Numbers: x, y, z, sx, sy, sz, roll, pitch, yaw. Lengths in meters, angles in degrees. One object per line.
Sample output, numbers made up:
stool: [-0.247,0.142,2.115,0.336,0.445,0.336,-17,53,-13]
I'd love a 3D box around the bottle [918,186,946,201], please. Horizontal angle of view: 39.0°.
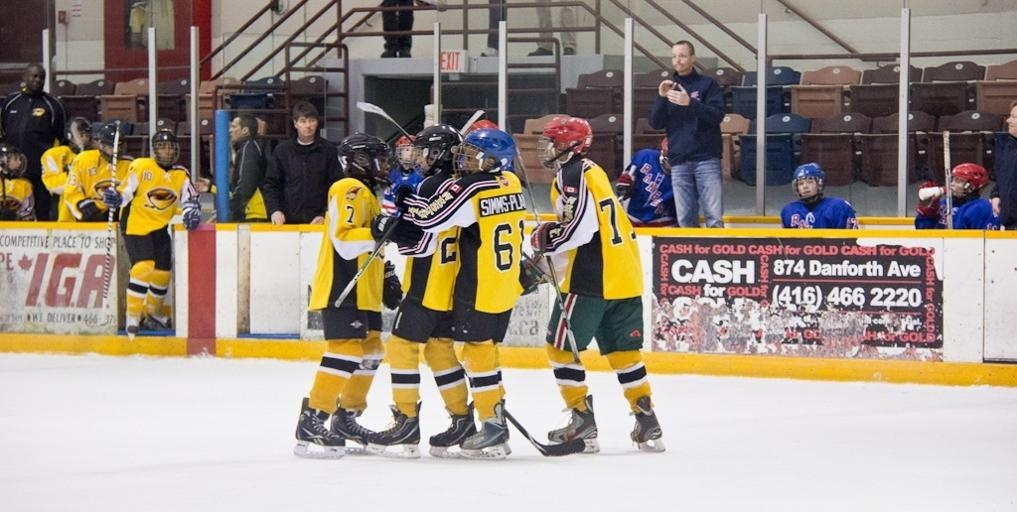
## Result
bottle: [5.258,-0.774,17.769,0.332,0.122,0.136,-6,6,-34]

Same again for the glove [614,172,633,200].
glove: [1.503,-0.899,18.362,0.160,0.332,0.253,23,-19,-19]

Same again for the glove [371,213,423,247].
glove: [-1.192,-0.275,15.397,0.574,0.341,0.145,1,-1,3]

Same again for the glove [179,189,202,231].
glove: [-4.060,-0.581,18.474,0.203,0.445,0.290,-15,-17,33]

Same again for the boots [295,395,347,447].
boots: [-2.028,1.825,15.482,0.618,0.464,0.200,7,11,31]

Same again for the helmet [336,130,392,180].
helmet: [-1.621,-1.096,15.722,0.585,0.494,0.441,-7,11,-14]

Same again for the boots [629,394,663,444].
boots: [1.539,1.829,15.834,0.306,0.528,0.779,-11,-6,-3]

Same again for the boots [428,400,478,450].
boots: [-0.573,1.859,15.527,0.652,0.405,0.214,-12,-2,23]

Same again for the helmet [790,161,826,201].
helmet: [3.733,-0.917,17.780,0.378,0.454,0.477,-6,-18,23]

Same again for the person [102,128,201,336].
person: [-4.594,-0.281,18.491,1.116,2.663,0.537,2,-1,-15]

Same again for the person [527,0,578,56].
person: [0.613,-3.047,19.026,0.600,0.819,0.454,1,-1,1]

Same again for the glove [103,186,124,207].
glove: [-5.031,-0.757,18.253,0.209,0.258,0.269,0,6,0]

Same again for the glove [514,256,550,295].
glove: [0.224,0.209,15.785,0.343,0.402,0.154,12,-4,-35]

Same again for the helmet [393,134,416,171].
helmet: [-1.122,-1.122,15.651,0.321,0.349,0.383,0,-4,-7]

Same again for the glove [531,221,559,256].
glove: [0.509,-0.204,15.535,0.372,0.324,0.263,0,3,-29]

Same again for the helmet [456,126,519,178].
helmet: [-0.201,-1.136,15.593,0.649,0.456,0.458,5,3,8]

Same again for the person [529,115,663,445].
person: [0.957,0.537,15.605,1.323,3.175,0.327,1,-1,1]

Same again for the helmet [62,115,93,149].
helmet: [-5.800,-1.638,19.285,0.370,0.420,0.440,-1,0,-29]

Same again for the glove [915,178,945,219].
glove: [5.244,-0.725,17.911,0.295,0.423,0.453,20,16,29]

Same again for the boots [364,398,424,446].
boots: [-1.210,1.858,15.554,0.716,0.450,0.239,-7,-7,26]

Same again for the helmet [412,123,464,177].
helmet: [-0.699,-1.166,15.646,0.612,0.534,0.472,1,5,2]

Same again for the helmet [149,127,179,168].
helmet: [-4.396,-1.388,18.324,0.360,0.440,0.486,-2,7,-17]

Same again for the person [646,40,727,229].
person: [2.294,-1.553,18.174,0.897,2.357,0.472,1,-1,7]

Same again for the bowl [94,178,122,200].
bowl: [-5.190,-0.871,18.578,0.299,0.212,0.158,8,-4,2]

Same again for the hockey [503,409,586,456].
hockey: [0.405,1.915,15.469,0.913,0.499,0.306,1,-1,0]

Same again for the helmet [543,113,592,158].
helmet: [0.650,-1.326,15.830,0.533,0.402,0.396,13,9,9]
